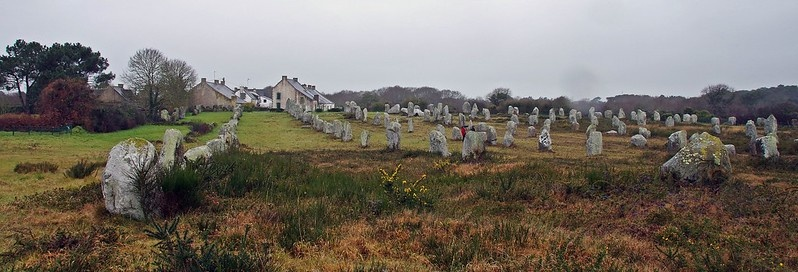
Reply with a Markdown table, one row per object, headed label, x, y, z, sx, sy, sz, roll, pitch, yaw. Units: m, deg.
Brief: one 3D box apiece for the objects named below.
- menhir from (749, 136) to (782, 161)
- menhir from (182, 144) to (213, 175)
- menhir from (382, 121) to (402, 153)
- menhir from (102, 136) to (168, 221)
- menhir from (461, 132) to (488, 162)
| label | x | y | z | sx | sy | sz | roll | pitch | yaw |
| --- | --- | --- | --- | --- | --- | --- | --- | --- | --- |
| menhir | 52.598 | 1.873 | 67.474 | 5.191 | 3.285 | 4.218 | -2 | -1 | 5 |
| menhir | -25.458 | 3.024 | 59.736 | 2.637 | 1.395 | 3.890 | 18 | 23 | -37 |
| menhir | -0.892 | -0.076 | 70.901 | 1.722 | 4.239 | 1.926 | 5 | 3 | 43 |
| menhir | -32.939 | 5.022 | 57.797 | 5.379 | 9.519 | 1.074 | 3 | 2 | 3 |
| menhir | 10.488 | 0.774 | 67.381 | 3.246 | 1.534 | 4.523 | 5 | 23 | 4 |
